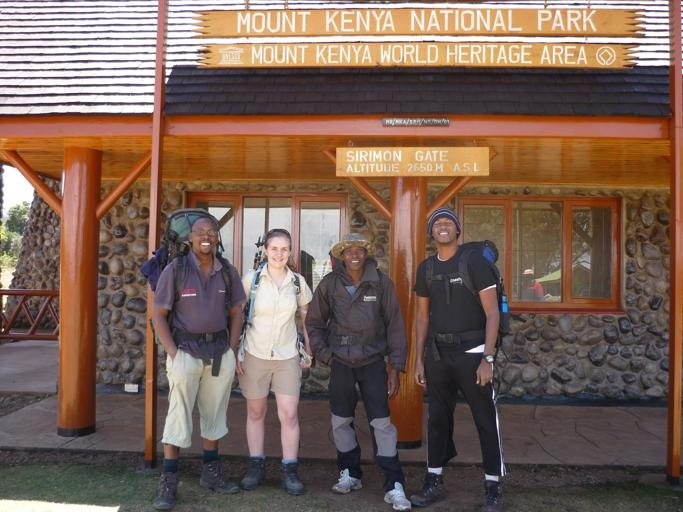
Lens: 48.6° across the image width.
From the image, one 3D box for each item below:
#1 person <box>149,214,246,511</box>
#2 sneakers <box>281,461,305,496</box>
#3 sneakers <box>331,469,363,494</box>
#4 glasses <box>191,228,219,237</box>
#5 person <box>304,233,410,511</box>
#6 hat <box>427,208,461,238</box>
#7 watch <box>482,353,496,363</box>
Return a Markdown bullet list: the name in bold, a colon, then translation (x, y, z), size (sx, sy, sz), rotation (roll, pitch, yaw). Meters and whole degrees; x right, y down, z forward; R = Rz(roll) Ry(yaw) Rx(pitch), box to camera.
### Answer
- **person**: translation (-1.400, 0.977, 7.394), size (0.984, 2.739, 0.681), rotation (-4, 11, -24)
- **sneakers**: translation (-0.483, 2.190, 7.459), size (0.162, 0.290, 0.216), rotation (-5, 12, -28)
- **sneakers**: translation (0.054, 2.249, 7.472), size (0.140, 0.190, 0.365), rotation (-10, -19, 34)
- **glasses**: translation (-1.340, -0.223, 7.358), size (0.237, 0.070, 0.091), rotation (-1, 11, -8)
- **person**: translation (0.150, 1.081, 7.436), size (1.090, 2.521, 0.772), rotation (3, 11, 15)
- **hat**: translation (1.013, -0.341, 7.462), size (0.260, 0.322, 0.157), rotation (2, 0, 8)
- **watch**: translation (1.395, 0.966, 7.104), size (0.080, 0.051, 0.081), rotation (5, -8, -13)
